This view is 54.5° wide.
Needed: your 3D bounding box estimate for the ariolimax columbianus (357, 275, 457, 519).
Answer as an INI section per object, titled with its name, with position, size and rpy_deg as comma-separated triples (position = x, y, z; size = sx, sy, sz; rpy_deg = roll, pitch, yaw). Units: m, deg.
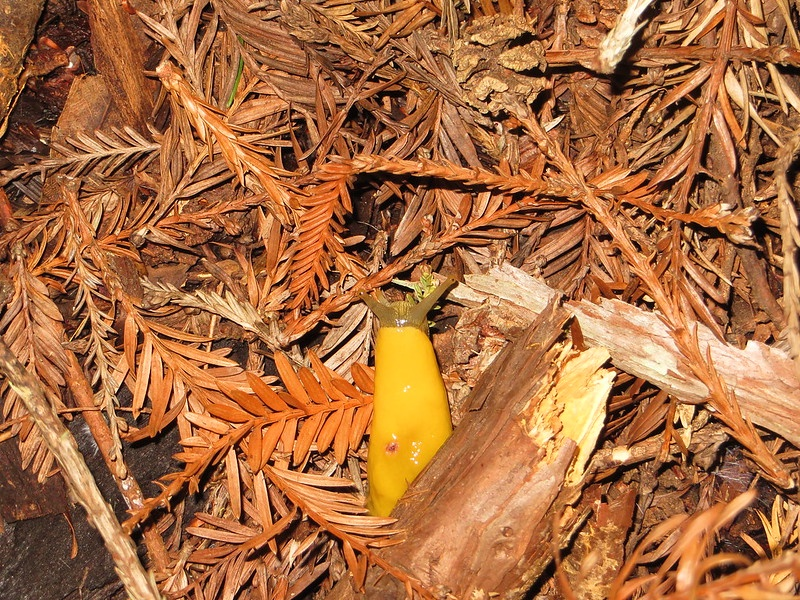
[ariolimax columbianus]
position = 0.022, 0.142, 1.516
size = 0.148, 0.475, 0.132
rpy_deg = -2, -68, -1
